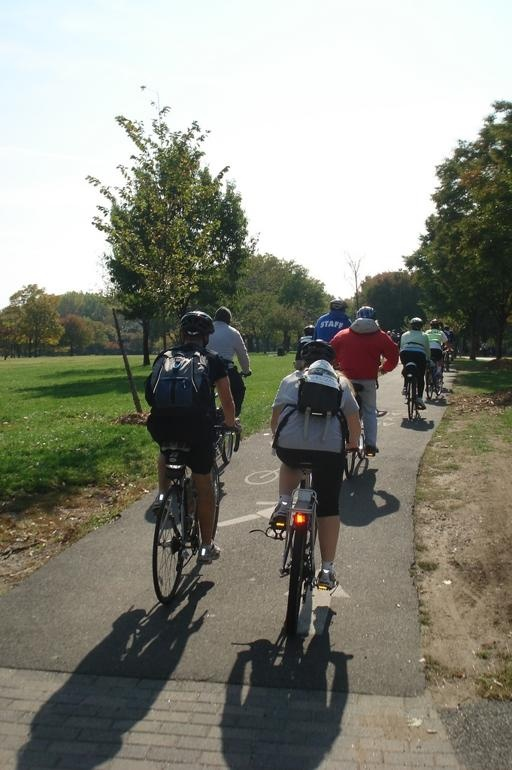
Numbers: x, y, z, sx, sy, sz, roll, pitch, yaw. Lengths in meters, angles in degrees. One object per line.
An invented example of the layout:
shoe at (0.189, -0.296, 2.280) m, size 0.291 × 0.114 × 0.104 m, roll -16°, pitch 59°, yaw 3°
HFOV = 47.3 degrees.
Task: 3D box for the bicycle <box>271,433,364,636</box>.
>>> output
bicycle at (0.431, 0.931, 3.628) m, size 0.447 × 0.641 × 0.978 m, roll 2°, pitch 1°, yaw 8°

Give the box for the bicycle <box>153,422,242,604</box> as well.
bicycle at (-0.340, 0.996, 4.217) m, size 0.575 × 0.834 × 1.342 m, roll 1°, pitch -8°, yaw 6°

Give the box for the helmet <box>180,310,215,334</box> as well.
helmet at (-0.413, -0.445, 4.103) m, size 0.144 × 0.202 × 0.197 m, roll 4°, pitch 14°, yaw 9°

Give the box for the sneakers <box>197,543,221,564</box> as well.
sneakers at (-0.314, 1.185, 4.113) m, size 0.068 × 0.098 × 0.200 m, roll 0°, pitch 2°, yaw 12°

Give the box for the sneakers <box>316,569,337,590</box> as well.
sneakers at (0.426, 1.158, 3.491) m, size 0.066 × 0.086 × 0.177 m, roll 1°, pitch -2°, yaw 9°

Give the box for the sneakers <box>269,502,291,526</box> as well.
sneakers at (0.141, 0.738, 3.386) m, size 0.082 × 0.049 × 0.134 m, roll 19°, pitch 41°, yaw -4°

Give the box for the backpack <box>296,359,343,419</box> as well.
backpack at (0.378, 0.021, 3.485) m, size 0.259 × 0.313 × 0.287 m, roll -1°, pitch 5°, yaw 8°

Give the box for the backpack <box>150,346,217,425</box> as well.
backpack at (-0.471, 0.025, 3.859) m, size 0.389 × 0.502 × 0.509 m, roll 5°, pitch -21°, yaw -11°

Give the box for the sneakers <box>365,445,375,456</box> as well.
sneakers at (1.419, 0.817, 7.301) m, size 0.104 × 0.089 × 0.107 m, roll -2°, pitch 1°, yaw 0°
